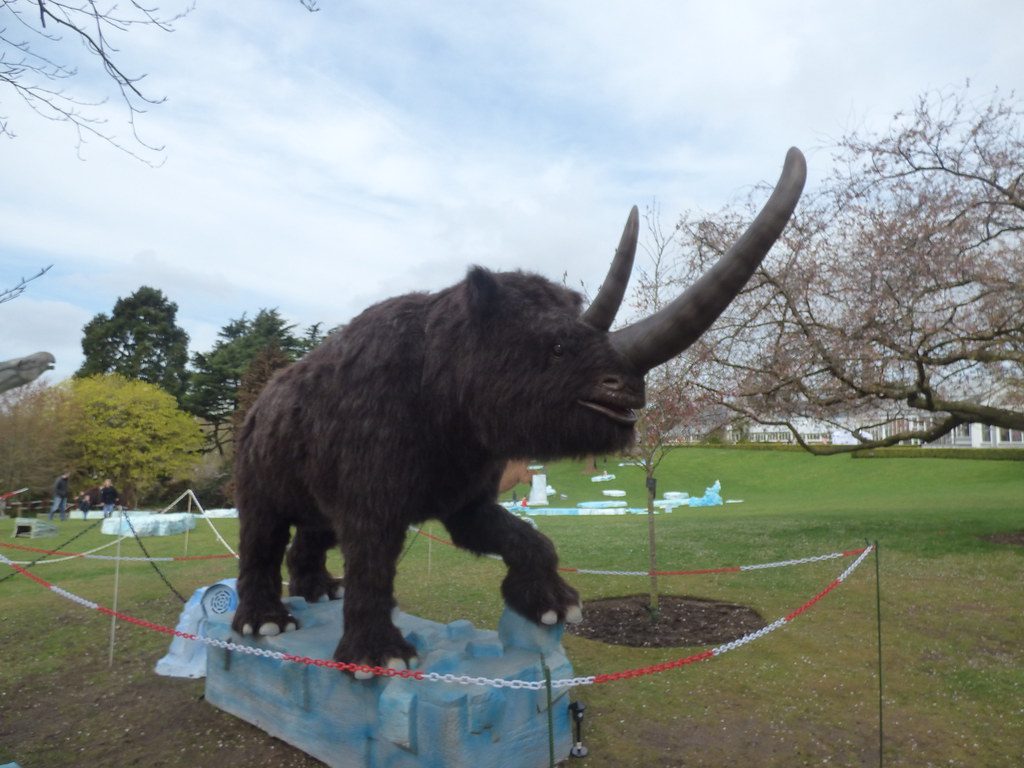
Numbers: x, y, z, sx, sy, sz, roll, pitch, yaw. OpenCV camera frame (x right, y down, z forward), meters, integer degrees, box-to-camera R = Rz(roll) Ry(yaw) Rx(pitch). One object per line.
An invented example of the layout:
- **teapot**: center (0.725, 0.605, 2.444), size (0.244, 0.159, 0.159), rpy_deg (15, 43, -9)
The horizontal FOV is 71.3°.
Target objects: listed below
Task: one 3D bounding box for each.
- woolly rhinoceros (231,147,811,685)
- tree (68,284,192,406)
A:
- **woolly rhinoceros**: center (-0.476, 0.546, 5.974), size (4.650, 3.720, 1.328), rpy_deg (2, -4, 33)
- **tree**: center (-18.238, -1.229, 34.383), size (4.206, 5.782, 5.721), rpy_deg (3, -2, -1)
